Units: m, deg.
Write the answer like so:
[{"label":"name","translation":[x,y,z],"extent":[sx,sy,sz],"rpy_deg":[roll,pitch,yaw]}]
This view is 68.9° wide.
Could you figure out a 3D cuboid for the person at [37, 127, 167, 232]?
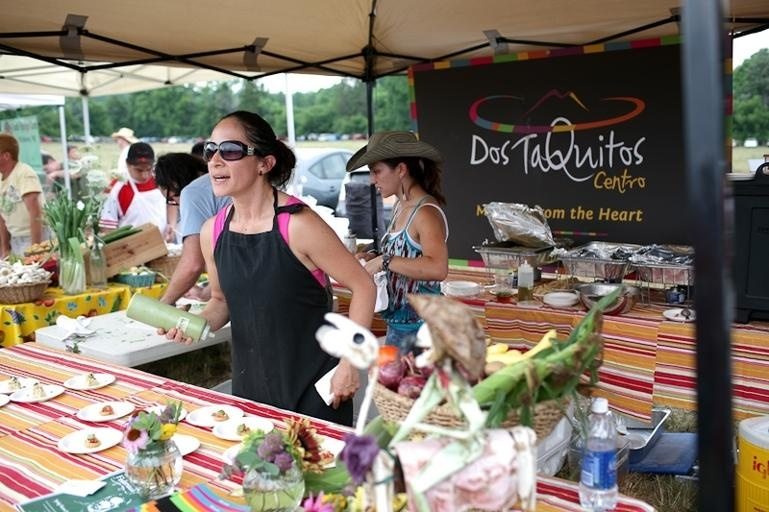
[{"label":"person","translation":[-3.007,-0.893,6.490],"extent":[1.470,1.097,0.955],"rpy_deg":[8,10,34]}]

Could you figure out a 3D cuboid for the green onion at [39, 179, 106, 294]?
[{"label":"green onion","translation":[-2.664,-0.105,4.767],"extent":[0.504,0.395,0.971],"rpy_deg":[-18,-24,-1]}]

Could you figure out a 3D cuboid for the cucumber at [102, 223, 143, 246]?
[{"label":"cucumber","translation":[-2.503,-0.181,5.182],"extent":[0.218,0.088,0.220],"rpy_deg":[-6,11,44]}]

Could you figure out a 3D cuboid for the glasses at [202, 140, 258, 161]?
[{"label":"glasses","translation":[-0.801,-0.532,2.830],"extent":[0.284,0.103,0.111],"rpy_deg":[3,12,19]}]

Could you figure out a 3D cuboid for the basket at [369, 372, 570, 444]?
[{"label":"basket","translation":[0.304,0.467,1.944],"extent":[0.595,0.200,0.564],"rpy_deg":[3,8,-24]}]

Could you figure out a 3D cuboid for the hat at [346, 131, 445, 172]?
[{"label":"hat","translation":[0.087,-0.747,4.171],"extent":[0.780,0.366,0.575],"rpy_deg":[7,14,28]}]

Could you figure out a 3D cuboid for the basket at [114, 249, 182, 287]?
[{"label":"basket","translation":[-2.154,0.110,4.997],"extent":[0.366,0.140,0.387],"rpy_deg":[-1,2,-17]}]

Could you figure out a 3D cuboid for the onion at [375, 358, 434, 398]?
[{"label":"onion","translation":[0.063,0.414,1.899],"extent":[0.169,0.090,0.203],"rpy_deg":[-2,12,-4]}]
